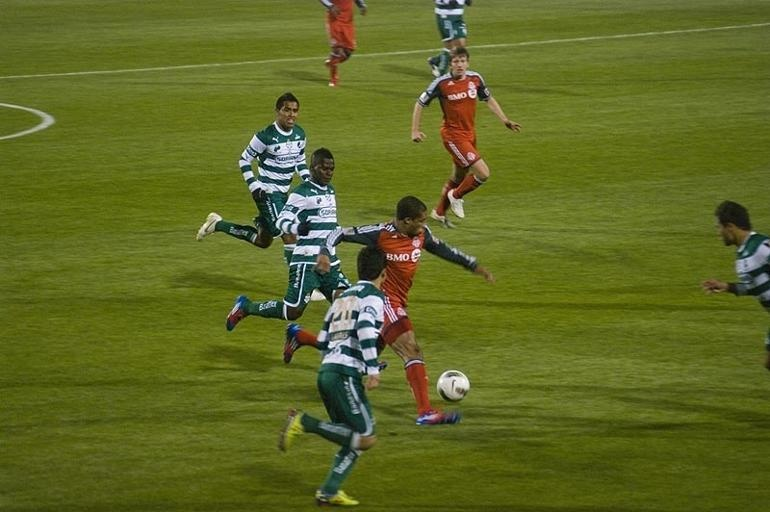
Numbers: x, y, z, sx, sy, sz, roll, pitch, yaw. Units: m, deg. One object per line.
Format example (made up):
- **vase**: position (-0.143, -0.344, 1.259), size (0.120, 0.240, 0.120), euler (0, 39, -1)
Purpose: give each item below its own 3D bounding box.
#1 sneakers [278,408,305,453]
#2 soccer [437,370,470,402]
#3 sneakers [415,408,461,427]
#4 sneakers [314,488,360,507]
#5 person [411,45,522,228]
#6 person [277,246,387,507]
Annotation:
- **sneakers**: position (-1.100, 2.065, 16.456), size (0.272, 0.516, 0.173), euler (6, 11, -3)
- **soccer**: position (0.880, 1.637, 17.668), size (0.588, 0.336, 0.449), euler (3, 5, 17)
- **sneakers**: position (0.637, 2.008, 17.168), size (0.650, 0.158, 0.177), euler (-2, -2, 4)
- **sneakers**: position (-0.577, 2.871, 16.519), size (0.626, 0.146, 0.179), euler (1, 7, -5)
- **person**: position (1.151, -1.863, 21.859), size (1.479, 2.784, 0.798), euler (6, 11, 2)
- **person**: position (-0.484, 1.432, 16.546), size (0.971, 3.017, 0.823), euler (9, 11, 9)
